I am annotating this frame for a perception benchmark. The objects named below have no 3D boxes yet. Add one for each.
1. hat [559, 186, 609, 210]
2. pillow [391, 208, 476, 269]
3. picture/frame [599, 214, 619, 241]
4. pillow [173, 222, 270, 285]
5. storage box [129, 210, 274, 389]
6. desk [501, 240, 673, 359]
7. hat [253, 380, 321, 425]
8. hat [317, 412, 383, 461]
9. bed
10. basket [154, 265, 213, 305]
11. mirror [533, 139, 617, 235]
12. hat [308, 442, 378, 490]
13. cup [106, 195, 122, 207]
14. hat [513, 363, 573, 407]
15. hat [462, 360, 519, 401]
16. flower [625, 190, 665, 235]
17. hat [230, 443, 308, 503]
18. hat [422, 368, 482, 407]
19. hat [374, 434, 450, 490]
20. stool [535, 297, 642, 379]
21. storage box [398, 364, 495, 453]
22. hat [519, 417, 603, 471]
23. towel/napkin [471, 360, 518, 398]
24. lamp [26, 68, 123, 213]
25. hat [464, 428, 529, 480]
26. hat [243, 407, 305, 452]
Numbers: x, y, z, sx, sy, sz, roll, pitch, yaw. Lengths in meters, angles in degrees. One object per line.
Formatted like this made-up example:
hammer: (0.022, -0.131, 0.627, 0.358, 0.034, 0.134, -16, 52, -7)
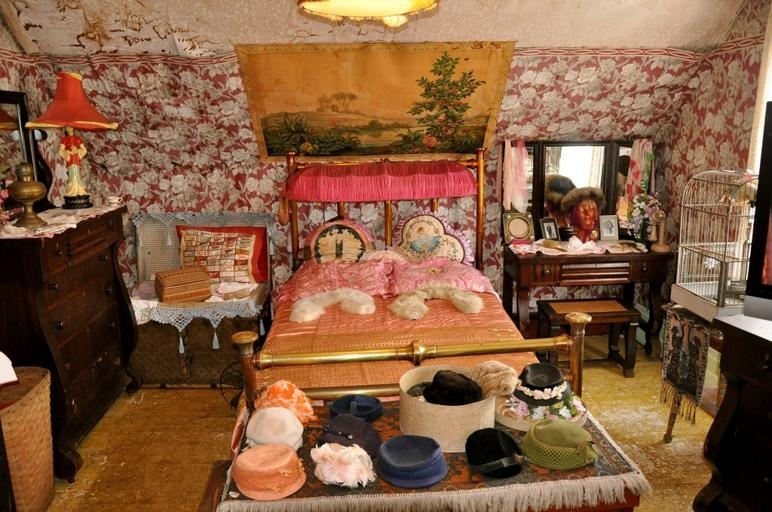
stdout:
hat: (1.930, -0.543, 5.163, 0.281, 0.107, 0.263, 5, 48, 48)
pillow: (0.358, -0.214, 4.963, 0.766, 0.857, 0.203, -7, 46, -10)
picture/frame: (2.145, -0.269, 5.104, 0.180, 0.232, 0.120, 1, 15, 11)
pillow: (-1.504, -0.012, 4.853, 0.637, 0.378, 0.206, -1, 3, -4)
storage box: (-1.593, 0.365, 5.045, 1.488, 1.461, 0.976, -1, -13, 1)
desk: (1.856, 0.503, 4.970, 1.413, 0.849, 0.748, 0, -15, -12)
hat: (-0.481, 0.669, 2.479, 0.285, 0.090, 0.295, 4, 13, -31)
hat: (-0.150, 0.765, 2.356, 0.357, 0.236, 0.145, -16, -31, 35)
bed: (0.152, 0.134, 3.974, 2.090, 1.685, 2.784, -1, 6, -4)
basket: (-1.772, 0.245, 4.637, 0.541, 0.205, 0.501, 3, 19, 2)
mirror: (1.821, -0.696, 5.121, 1.039, 1.092, 0.055, -1, 6, -5)
hat: (-0.178, 0.840, 2.144, 0.192, 0.083, 0.209, -2, -18, 45)
cup: (-2.174, -0.434, 4.260, 0.163, 0.097, 0.122, 0, -2, -22)
hat: (0.738, 0.590, 2.485, 0.276, 0.091, 0.294, -4, 9, 40)
hat: (0.480, 0.538, 2.346, 0.185, 0.071, 0.174, -15, 19, -20)
flower: (2.383, -0.377, 4.895, 0.222, 0.412, 0.335, -8, 17, -23)
hat: (-0.479, 0.874, 2.165, 0.298, 0.151, 0.178, -2, 14, -3)
hat: (0.289, 0.563, 2.301, 0.178, 0.048, 0.156, 0, 10, -21)
hat: (0.108, 0.838, 2.247, 0.311, 0.094, 0.297, -13, 14, -23)
stool: (1.781, 0.714, 4.743, 0.806, 0.510, 0.599, 1, 9, 6)
storage box: (0.246, 0.703, 2.443, 0.403, 0.162, 0.370, -1, 15, -1)
hat: (0.744, 0.775, 2.309, 0.320, 0.126, 0.294, 4, 19, 41)
towel/napkin: (0.485, 0.531, 2.355, 0.182, 0.071, 0.171, -13, 22, -24)
lamp: (-2.438, -0.899, 4.167, 0.563, 0.991, 0.756, -10, 17, -28)
hat: (0.447, 0.777, 2.247, 0.226, 0.097, 0.180, -5, -3, 34)
hat: (-0.509, 0.734, 2.368, 0.252, 0.113, 0.325, 22, 7, -11)
